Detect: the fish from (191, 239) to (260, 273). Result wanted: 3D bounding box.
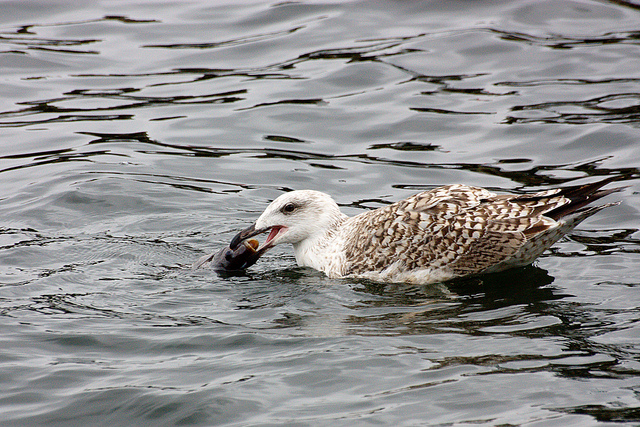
[{"bbox_3d":[-1.288,0.599,11.002,1.544,0.737,0.429,1,89,-26],"label":"fish"}]
